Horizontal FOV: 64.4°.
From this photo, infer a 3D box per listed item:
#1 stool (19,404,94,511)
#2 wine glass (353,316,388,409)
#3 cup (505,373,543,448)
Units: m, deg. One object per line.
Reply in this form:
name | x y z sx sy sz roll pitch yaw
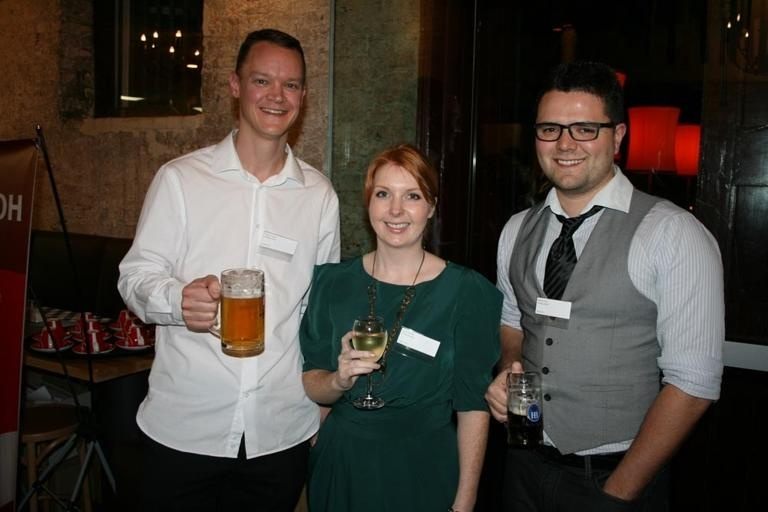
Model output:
stool | -2.459 1.584 4.582 0.410 0.874 0.729 -4 10 -29
wine glass | -0.045 0.551 3.130 0.229 0.481 0.191 -3 10 -24
cup | 0.721 0.757 3.083 0.202 0.374 0.140 1 9 -4
